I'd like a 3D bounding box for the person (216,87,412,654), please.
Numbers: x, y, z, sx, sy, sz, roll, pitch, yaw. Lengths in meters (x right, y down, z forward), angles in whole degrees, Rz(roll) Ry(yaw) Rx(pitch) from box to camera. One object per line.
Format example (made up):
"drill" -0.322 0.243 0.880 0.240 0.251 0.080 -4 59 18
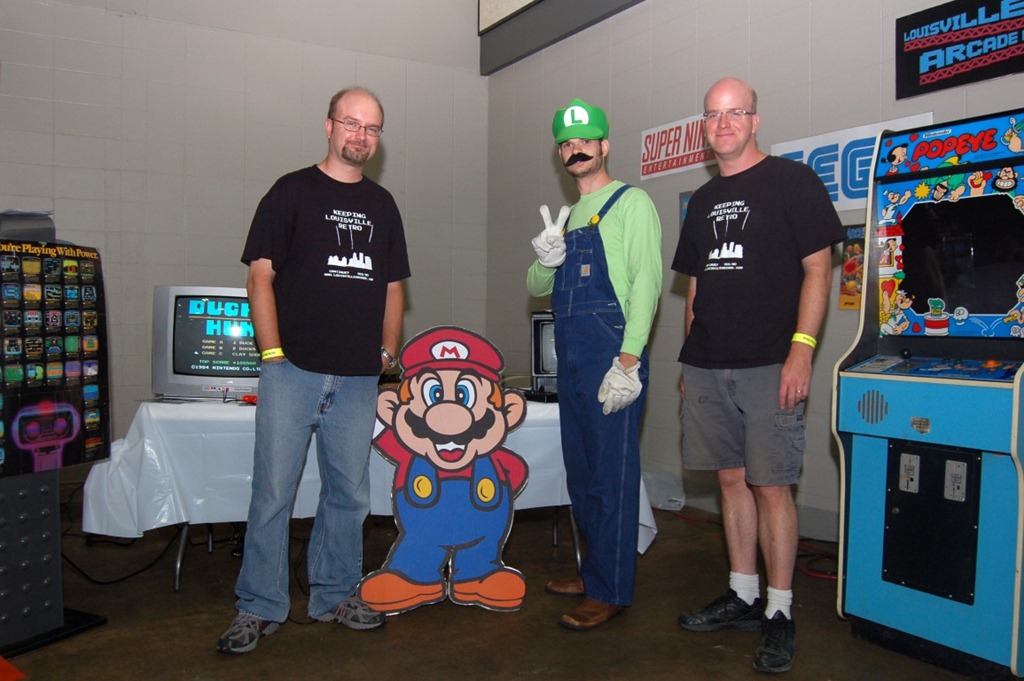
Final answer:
"person" -0.966 0.108 3.837 0.815 2.664 0.532 -1 9 -11

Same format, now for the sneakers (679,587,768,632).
"sneakers" 1.074 1.377 4.059 0.507 0.254 0.173 1 -3 -8

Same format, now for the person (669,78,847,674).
"person" 1.156 0.108 3.818 0.759 2.743 0.668 5 9 27

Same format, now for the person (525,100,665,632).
"person" 0.423 0.099 4.030 0.542 2.616 0.638 -5 10 -33

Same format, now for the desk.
"desk" -1.028 0.726 4.227 2.178 0.542 1.390 -3 6 -23

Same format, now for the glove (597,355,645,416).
"glove" 0.534 0.231 3.827 0.205 0.271 0.081 17 7 -18

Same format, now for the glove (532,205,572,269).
"glove" 0.210 -0.520 4.164 0.243 0.351 0.168 -1 1 7

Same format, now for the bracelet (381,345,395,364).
"bracelet" -0.641 0.078 4.071 0.064 0.053 0.089 2 10 -17

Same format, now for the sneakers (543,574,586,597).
"sneakers" 0.304 1.338 4.311 0.203 0.084 0.101 4 0 5

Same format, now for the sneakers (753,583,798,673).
"sneakers" 1.260 1.354 3.704 0.174 0.323 0.272 4 9 22

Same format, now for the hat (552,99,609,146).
"hat" 0.351 -1.133 4.065 0.321 0.177 0.413 -9 15 -4

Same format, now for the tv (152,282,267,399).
"tv" -1.793 0.030 4.747 0.656 0.623 0.360 2 -13 -29

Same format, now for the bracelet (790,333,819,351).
"bracelet" 1.399 -0.008 3.735 0.109 0.065 0.115 3 9 16

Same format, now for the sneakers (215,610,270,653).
"sneakers" -1.292 1.401 3.771 0.106 0.119 0.261 -1 -7 18
